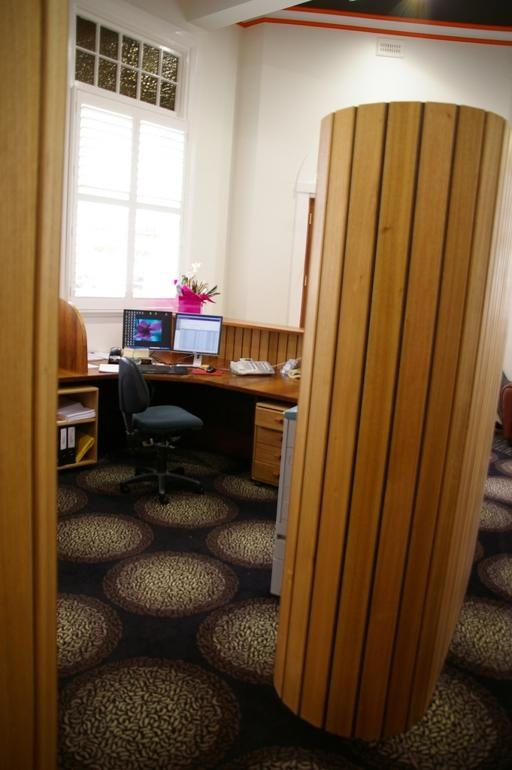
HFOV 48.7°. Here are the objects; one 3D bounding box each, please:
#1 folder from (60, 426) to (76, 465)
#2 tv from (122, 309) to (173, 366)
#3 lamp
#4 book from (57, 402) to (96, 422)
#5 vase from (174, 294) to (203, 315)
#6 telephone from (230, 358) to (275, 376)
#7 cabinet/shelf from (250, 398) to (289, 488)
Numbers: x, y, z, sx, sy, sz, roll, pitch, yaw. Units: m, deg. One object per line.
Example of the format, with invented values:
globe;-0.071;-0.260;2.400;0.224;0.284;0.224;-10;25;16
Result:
folder;-1.255;0.396;3.768;0.136;0.245;0.248;1;4;-14
tv;-0.808;-0.358;4.215;0.449;0.466;0.050;0;4;-23
lamp;0.576;-1.665;6.464;0.215;1.966;0.281;12;11;42
book;-1.254;0.191;3.821;0.201;0.095;0.288;12;11;38
vase;-0.558;-0.691;4.800;0.190;0.143;0.149;4;9;-2
telephone;-0.014;-0.124;4.053;0.193;0.049;0.152;-2;33;-15
cabinet/shelf;0.078;0.387;3.665;0.270;0.537;0.117;11;11;37
